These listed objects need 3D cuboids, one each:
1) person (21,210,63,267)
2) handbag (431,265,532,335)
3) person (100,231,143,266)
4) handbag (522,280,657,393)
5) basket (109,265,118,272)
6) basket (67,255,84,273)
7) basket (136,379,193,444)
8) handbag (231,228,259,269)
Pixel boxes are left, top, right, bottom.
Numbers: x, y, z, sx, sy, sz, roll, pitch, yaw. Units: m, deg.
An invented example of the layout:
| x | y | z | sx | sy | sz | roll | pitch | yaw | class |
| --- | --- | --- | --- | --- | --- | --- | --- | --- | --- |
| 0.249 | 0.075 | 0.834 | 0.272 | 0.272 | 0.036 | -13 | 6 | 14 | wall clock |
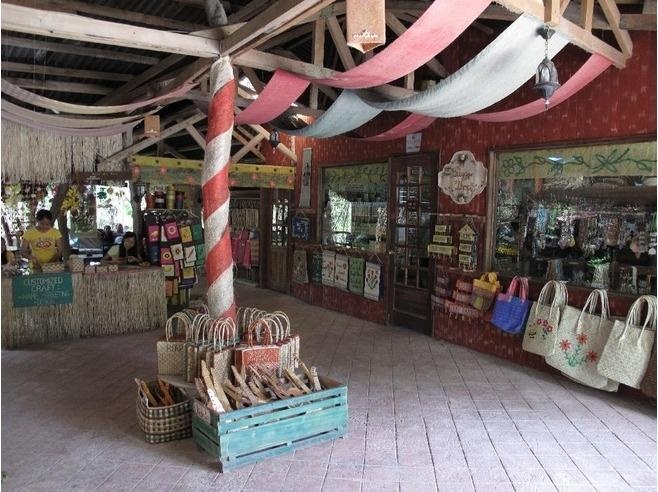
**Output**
| x | y | z | sx | sy | sz | roll | pitch | yaw | class |
| --- | --- | --- | --- | --- | --- | --- | --- | --- | --- |
| -4.166 | -0.106 | 6.944 | 0.490 | 0.817 | 0.647 | -4 | 8 | -36 | person |
| 2.083 | 0.719 | 6.399 | 0.203 | 0.543 | 0.890 | 2 | 12 | -30 | handbag |
| -3.339 | 0.023 | 7.761 | 0.564 | 0.470 | 0.881 | -2 | 8 | -22 | person |
| 2.923 | 1.007 | 5.283 | 0.419 | 0.987 | 0.986 | 20 | -3 | -37 | handbag |
| -3.151 | 0.335 | 7.013 | 0.081 | 0.068 | 0.086 | 1 | -4 | -1 | basket |
| -3.623 | 0.251 | 6.875 | 0.194 | 0.218 | 0.358 | -3 | 9 | -32 | basket |
| -1.594 | 1.499 | 4.526 | 0.457 | 0.319 | 0.798 | 3 | 3 | -32 | basket |
| -1.946 | 0.060 | 11.183 | 0.807 | 0.891 | 0.309 | 3 | 4 | 41 | handbag |
